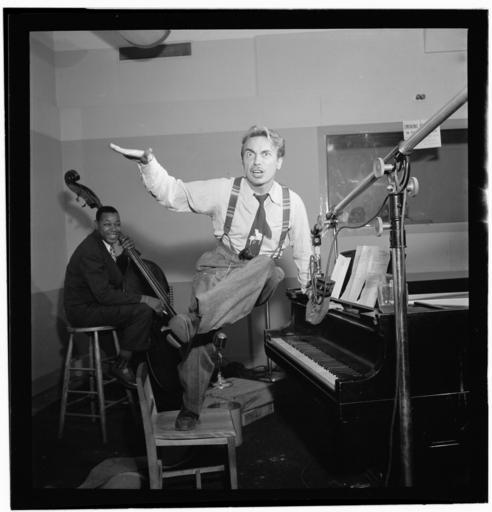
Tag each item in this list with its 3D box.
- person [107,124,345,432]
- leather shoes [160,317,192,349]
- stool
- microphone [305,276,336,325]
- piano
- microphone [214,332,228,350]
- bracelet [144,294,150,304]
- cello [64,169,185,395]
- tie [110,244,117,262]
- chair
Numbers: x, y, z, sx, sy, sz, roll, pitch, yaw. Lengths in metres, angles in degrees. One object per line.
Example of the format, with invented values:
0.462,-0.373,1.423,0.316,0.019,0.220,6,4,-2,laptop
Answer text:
-0.110,0.100,2.498,0.858,1.470,0.500,10,-7,-29,person
-0.303,0.319,2.518,0.106,0.108,0.137,-36,-2,-5,leather shoes
-0.689,0.580,2.579,0.282,0.654,0.277,-9,-19,27,stool
0.337,0.195,2.565,0.062,0.230,0.111,11,0,-35,microphone
0.523,0.442,2.548,0.617,0.711,0.732,-8,19,-25,piano
-0.113,0.368,2.495,0.053,0.122,0.057,3,-3,13,microphone
-0.439,0.191,2.556,0.020,0.029,0.028,6,-32,1,bracelet
-0.540,0.162,2.655,0.313,1.140,0.469,-7,9,29,cello
-0.598,-0.012,2.575,0.029,0.066,0.006,0,8,-7,tie
-0.237,0.697,2.569,0.428,0.832,0.469,-2,-4,-5,chair
